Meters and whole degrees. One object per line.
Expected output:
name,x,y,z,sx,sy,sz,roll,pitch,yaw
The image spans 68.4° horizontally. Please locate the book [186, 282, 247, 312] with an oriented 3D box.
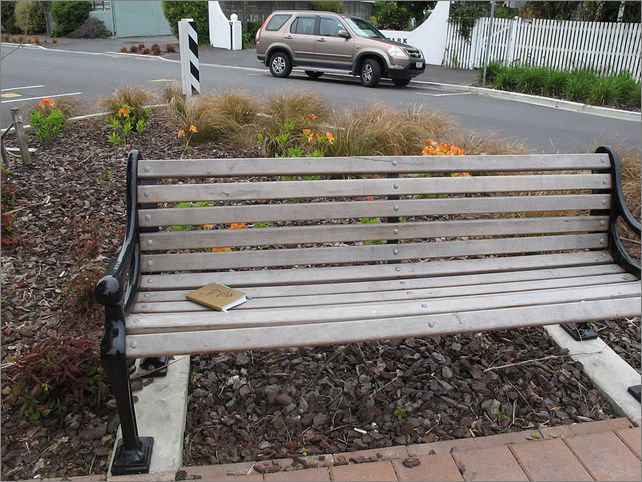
book,-0.547,0.309,2.532,0.168,0.040,0.169,20,26,34
